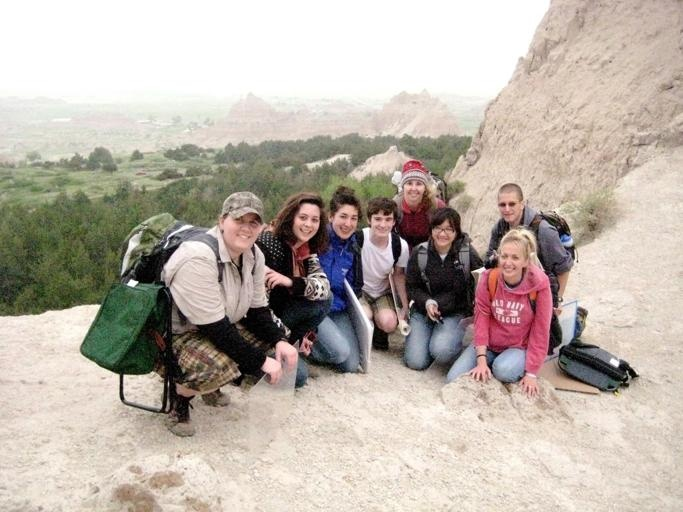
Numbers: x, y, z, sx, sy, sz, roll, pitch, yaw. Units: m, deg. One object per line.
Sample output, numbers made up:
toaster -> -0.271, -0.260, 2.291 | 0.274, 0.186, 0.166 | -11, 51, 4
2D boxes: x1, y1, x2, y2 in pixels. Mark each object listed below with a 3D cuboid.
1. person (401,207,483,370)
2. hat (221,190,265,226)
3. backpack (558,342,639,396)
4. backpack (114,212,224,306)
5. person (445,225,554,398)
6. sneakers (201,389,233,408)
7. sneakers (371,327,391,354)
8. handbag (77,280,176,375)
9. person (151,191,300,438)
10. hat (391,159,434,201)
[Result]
person -> 1.034, 0.341, 5.473 | 1.043, 1.616, 0.852 | -7, 13, -11
hat -> -0.762, -0.364, 4.043 | 0.305, 0.233, 0.281 | -4, 24, -13
backpack -> 2.374, 1.039, 5.069 | 0.547, 0.197, 0.408 | 23, 41, 33
backpack -> -1.220, 0.008, 4.154 | 0.810, 0.475, 1.087 | -4, 18, -42
person -> 1.424, 0.508, 4.781 | 1.120, 1.318, 0.869 | -12, 16, -31
sneakers -> -1.044, 1.163, 4.403 | 0.207, 0.215, 0.111 | -6, 15, -9
sneakers -> 0.407, 0.896, 5.744 | 0.273, 0.290, 0.149 | -1, 18, 4
handbag -> -1.597, 0.505, 3.899 | 0.603, 0.619, 0.345 | 6, 3, 29
person -> -0.925, 0.425, 4.235 | 0.996, 1.785, 1.275 | 9, 11, 13
hat -> 0.830, -0.975, 6.375 | 0.591, 0.426, 0.784 | -3, 15, 12
